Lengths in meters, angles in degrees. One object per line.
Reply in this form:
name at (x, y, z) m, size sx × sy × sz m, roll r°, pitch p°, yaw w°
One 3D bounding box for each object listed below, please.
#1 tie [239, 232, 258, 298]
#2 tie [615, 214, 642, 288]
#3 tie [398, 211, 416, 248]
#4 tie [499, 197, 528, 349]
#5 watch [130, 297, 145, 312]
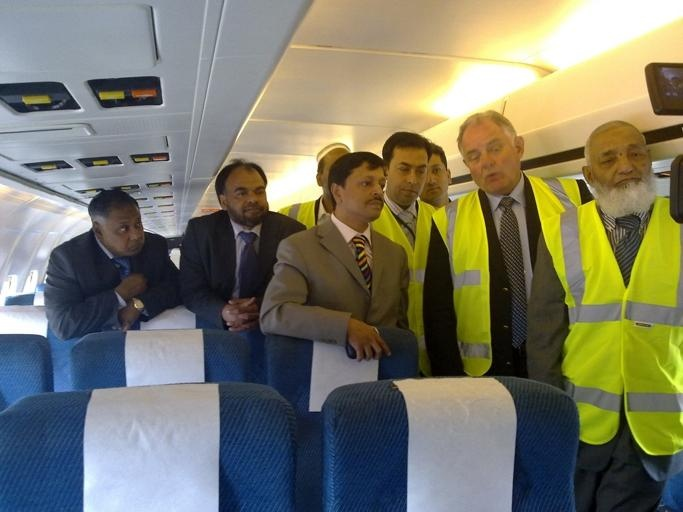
tie at (-0.683, 0.058, 3.891) m, size 0.155 × 0.488 × 0.095 m, roll -4°, pitch -5°, yaw -6°
tie at (1.480, -0.034, 2.725) m, size 0.115 × 0.384 × 0.043 m, roll 0°, pitch -15°, yaw 33°
tie at (0.517, -0.191, 4.047) m, size 0.055 × 0.180 × 0.180 m, roll -18°, pitch 29°, yaw -12°
tie at (1.085, 0.087, 3.313) m, size 0.132 × 0.950 × 0.240 m, roll -6°, pitch -5°, yaw 17°
watch at (-1.515, 0.366, 3.950) m, size 0.071 × 0.099 × 0.029 m, roll -5°, pitch -43°, yaw -41°
